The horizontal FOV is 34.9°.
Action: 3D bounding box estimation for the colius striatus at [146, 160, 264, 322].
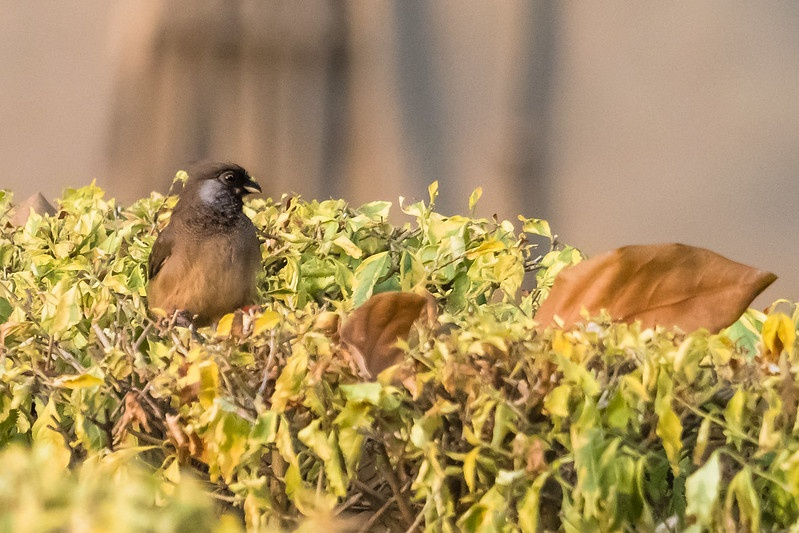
[{"bbox_3d":[-0.719,-0.102,4.767,0.406,0.646,0.202,6,-15,-12],"label":"colius striatus"}]
